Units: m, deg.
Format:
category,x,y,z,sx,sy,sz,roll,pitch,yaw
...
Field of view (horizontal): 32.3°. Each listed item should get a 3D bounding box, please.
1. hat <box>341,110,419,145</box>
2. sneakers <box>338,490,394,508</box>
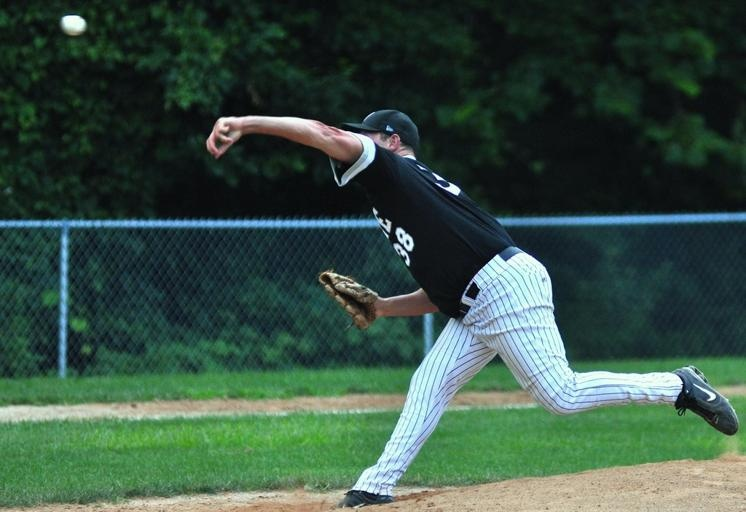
category,x,y,z,sx,sy,sz,roll,pitch,yaw
hat,0.146,-1.558,15.491,0.697,0.385,0.455,12,0,-3
sneakers,-0.086,2.813,15.158,0.418,0.201,0.272,4,-8,-3
